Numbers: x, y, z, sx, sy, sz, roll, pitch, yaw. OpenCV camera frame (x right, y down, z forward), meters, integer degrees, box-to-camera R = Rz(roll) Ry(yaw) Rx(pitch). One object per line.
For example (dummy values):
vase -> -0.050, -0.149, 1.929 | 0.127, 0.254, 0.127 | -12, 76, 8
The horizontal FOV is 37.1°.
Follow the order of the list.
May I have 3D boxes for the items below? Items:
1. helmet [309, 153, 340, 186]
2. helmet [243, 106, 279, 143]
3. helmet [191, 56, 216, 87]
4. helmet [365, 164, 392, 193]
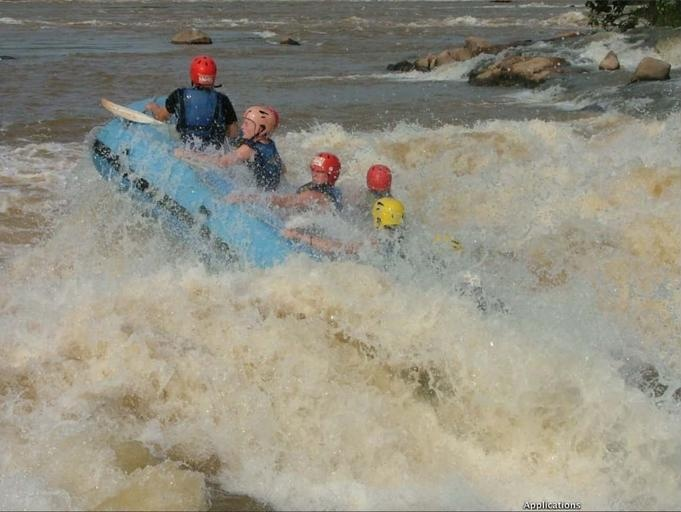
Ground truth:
helmet -> -0.243, -1.426, 16.079 | 0.505, 0.487, 0.392 | -8, 20, -28
helmet -> -1.273, -2.182, 16.151 | 0.578, 0.556, 0.441 | 15, 29, -6
helmet -> -2.174, -3.023, 16.439 | 0.395, 0.507, 0.510 | 2, 30, -20
helmet -> 0.603, -1.303, 16.313 | 0.394, 0.347, 0.424 | 3, 41, 7
